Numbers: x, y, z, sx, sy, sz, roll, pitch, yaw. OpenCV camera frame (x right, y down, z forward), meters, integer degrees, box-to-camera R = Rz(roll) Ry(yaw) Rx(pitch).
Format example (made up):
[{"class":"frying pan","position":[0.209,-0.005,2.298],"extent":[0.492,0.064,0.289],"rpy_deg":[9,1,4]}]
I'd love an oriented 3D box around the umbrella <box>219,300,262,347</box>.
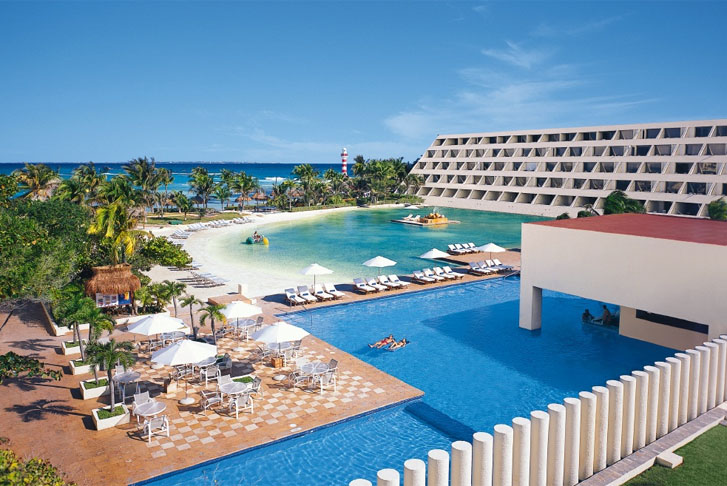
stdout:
[{"class":"umbrella","position":[-5.697,3.558,22.580],"extent":[2.225,1.303,1.921],"rpy_deg":[-1,18,-8]}]

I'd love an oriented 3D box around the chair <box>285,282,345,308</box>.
[{"class":"chair","position":[-3.072,3.041,28.713],"extent":[3.046,0.877,1.588],"rpy_deg":[-5,10,-22]}]

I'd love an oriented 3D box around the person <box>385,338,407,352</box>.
[{"class":"person","position":[1.545,4.816,22.743],"extent":[1.385,0.481,0.366],"rpy_deg":[-12,25,-19]}]

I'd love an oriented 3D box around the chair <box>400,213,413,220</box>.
[{"class":"chair","position":[6.478,-3.894,70.082],"extent":[1.390,0.595,1.612],"rpy_deg":[-1,5,20]}]

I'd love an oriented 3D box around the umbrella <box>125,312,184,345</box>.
[{"class":"umbrella","position":[-8.489,3.871,20.388],"extent":[2.120,0.697,1.863],"rpy_deg":[3,9,4]}]

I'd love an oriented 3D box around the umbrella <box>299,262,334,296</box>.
[{"class":"umbrella","position":[-2.958,2.190,30.778],"extent":[2.164,1.729,1.770],"rpy_deg":[0,13,-10]}]

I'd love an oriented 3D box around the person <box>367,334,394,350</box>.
[{"class":"person","position":[0.908,4.676,22.745],"extent":[0.996,0.331,0.601],"rpy_deg":[-9,13,-21]}]

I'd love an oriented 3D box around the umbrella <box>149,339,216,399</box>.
[{"class":"umbrella","position":[-6.581,4.145,17.544],"extent":[2.085,0.963,1.129],"rpy_deg":[-2,10,-8]}]

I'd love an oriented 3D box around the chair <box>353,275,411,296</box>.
[{"class":"chair","position":[1.092,2.600,30.908],"extent":[3.199,0.780,1.447],"rpy_deg":[-6,11,-27]}]
